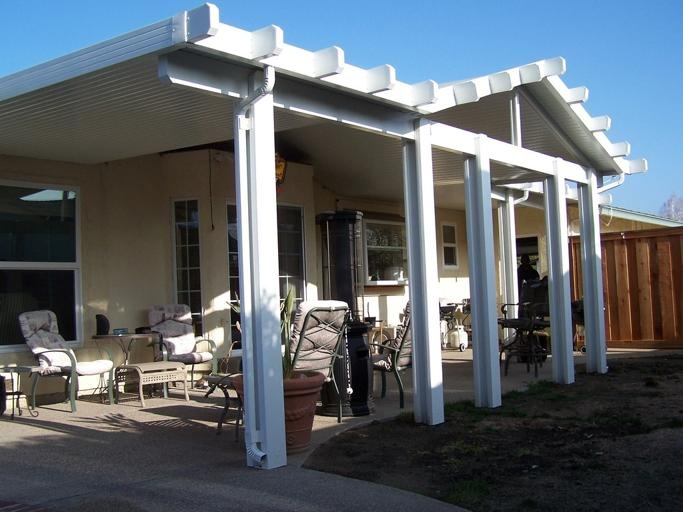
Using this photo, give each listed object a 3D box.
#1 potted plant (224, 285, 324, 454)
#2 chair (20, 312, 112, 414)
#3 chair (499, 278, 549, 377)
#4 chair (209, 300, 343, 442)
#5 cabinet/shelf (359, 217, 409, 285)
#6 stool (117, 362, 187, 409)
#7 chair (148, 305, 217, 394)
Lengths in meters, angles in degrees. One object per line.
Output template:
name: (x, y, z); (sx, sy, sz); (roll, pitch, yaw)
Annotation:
potted plant: (-0.568, 1.035, 5.303); (0.742, 1.354, 0.775); (-2, -8, -25)
chair: (-3.485, 1.303, 7.552); (0.976, 1.258, 0.866); (-4, -3, 16)
chair: (3.147, 1.141, 10.107); (0.874, 1.495, 0.877); (1, -6, -23)
chair: (-0.475, 1.090, 5.948); (1.092, 1.529, 1.459); (-5, -8, 39)
cabinet/shelf: (0.838, -0.116, 12.492); (1.352, 1.556, 0.514); (-4, 1, -40)
stool: (-2.477, 1.696, 7.965); (0.923, 0.526, 0.870); (0, -7, -22)
chair: (-2.326, 1.337, 8.537); (0.809, 1.264, 0.897); (-4, -5, 37)
